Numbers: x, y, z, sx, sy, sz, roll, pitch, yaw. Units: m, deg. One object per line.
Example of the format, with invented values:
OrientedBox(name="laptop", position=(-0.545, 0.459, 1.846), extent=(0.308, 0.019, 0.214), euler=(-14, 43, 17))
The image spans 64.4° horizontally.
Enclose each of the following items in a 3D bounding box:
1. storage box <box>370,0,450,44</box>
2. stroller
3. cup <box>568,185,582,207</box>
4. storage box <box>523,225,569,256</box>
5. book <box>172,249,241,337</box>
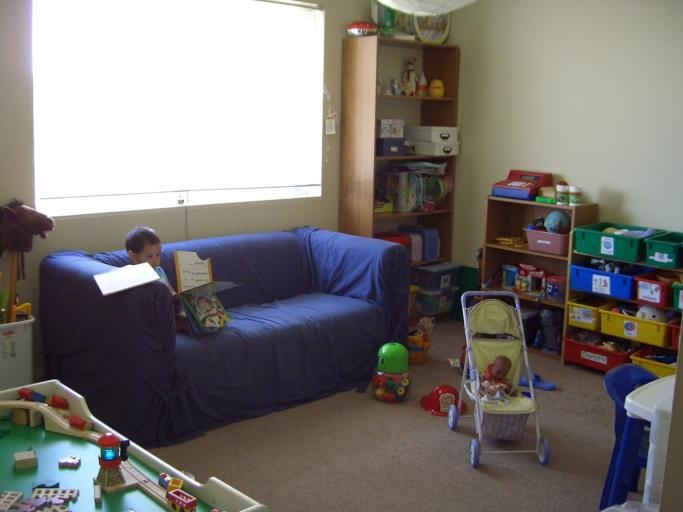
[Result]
OrientedBox(name="storage box", position=(0.629, -2.014, 4.712), extent=(0.883, 0.264, 0.151), euler=(-9, 17, -36))
OrientedBox(name="stroller", position=(0.922, 0.699, 3.460), extent=(0.579, 1.190, 0.934), euler=(0, 1, -1))
OrientedBox(name="cup", position=(1.815, -0.465, 4.216), extent=(0.100, 0.139, 0.182), euler=(7, 15, 21))
OrientedBox(name="storage box", position=(1.621, -0.109, 4.308), extent=(0.257, 0.137, 0.177), euler=(7, 11, 37))
OrientedBox(name="book", position=(-0.895, 0.255, 3.519), extent=(0.320, 0.491, 0.332), euler=(28, 25, 30))
